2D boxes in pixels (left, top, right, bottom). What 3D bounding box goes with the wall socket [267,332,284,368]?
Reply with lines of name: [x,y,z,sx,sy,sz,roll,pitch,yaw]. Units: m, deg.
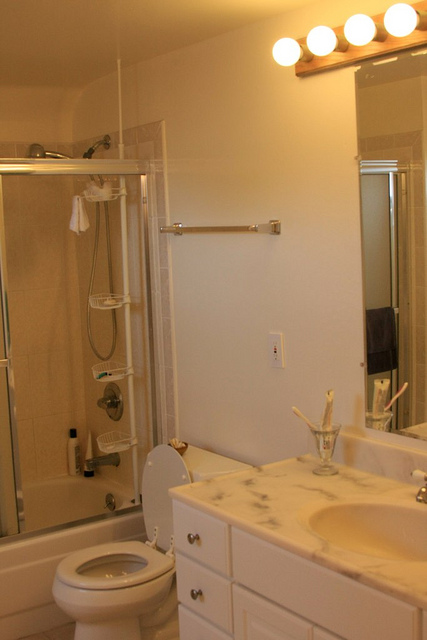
wall socket: [0.219,0.106,1.876,0.020,0.122,0.081,-2,0,-24]

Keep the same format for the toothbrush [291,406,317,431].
toothbrush: [0.296,0.316,1.727,0.033,0.120,0.028,-10,30,43]

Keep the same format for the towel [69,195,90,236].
towel: [-0.622,-0.494,2.495,0.090,0.214,0.112,-18,30,-38]

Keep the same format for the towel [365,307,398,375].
towel: [0.464,0.059,1.476,0.013,0.183,0.110,-2,0,-24]

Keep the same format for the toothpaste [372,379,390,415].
toothpaste: [0.468,0.214,1.494,0.008,0.099,0.070,-2,0,-22]

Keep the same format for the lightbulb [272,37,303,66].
lightbulb: [0.211,-0.760,1.519,0.076,0.078,0.069,19,29,37]

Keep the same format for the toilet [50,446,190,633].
toilet: [-0.358,0.872,2.057,0.505,0.698,0.392,-3,0,-20]

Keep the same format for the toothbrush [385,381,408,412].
toothbrush: [0.495,0.207,1.449,0.010,0.091,0.023,10,24,-32]

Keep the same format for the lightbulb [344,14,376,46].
lightbulb: [0.362,-0.714,1.342,0.065,0.071,0.105,-3,0,-3]
